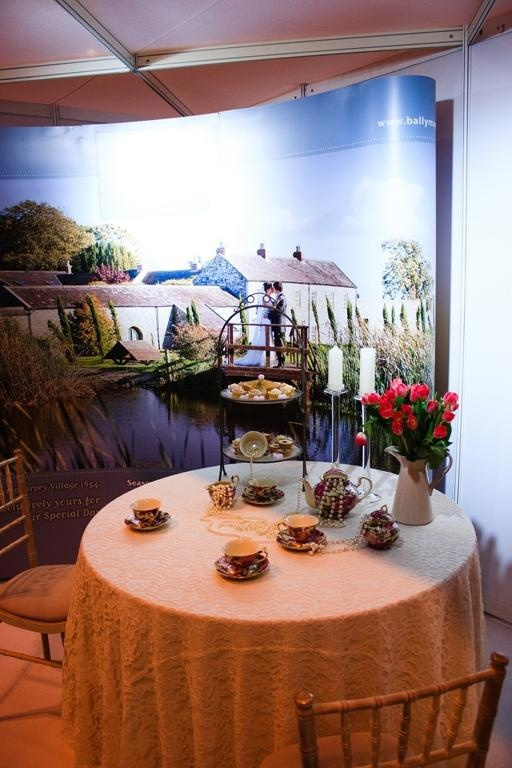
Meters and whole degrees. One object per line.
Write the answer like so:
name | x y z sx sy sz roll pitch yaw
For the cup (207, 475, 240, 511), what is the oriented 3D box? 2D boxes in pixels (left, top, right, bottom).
cup | -0.103 0.394 1.987 0.118 0.086 0.091 -6 4 -40

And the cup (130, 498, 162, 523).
cup | -0.359 0.413 1.795 0.066 0.047 0.068 -1 4 0

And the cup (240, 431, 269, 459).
cup | -0.004 0.237 2.067 0.116 0.094 0.134 -1 7 -5

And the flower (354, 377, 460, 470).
flower | 0.527 0.163 1.760 0.223 0.268 0.269 -3 10 46

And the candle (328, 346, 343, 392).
candle | 0.288 -0.045 2.004 0.052 0.170 0.033 0 6 4

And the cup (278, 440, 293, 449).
cup | 0.115 0.240 2.141 0.035 0.023 0.037 -1 6 0
